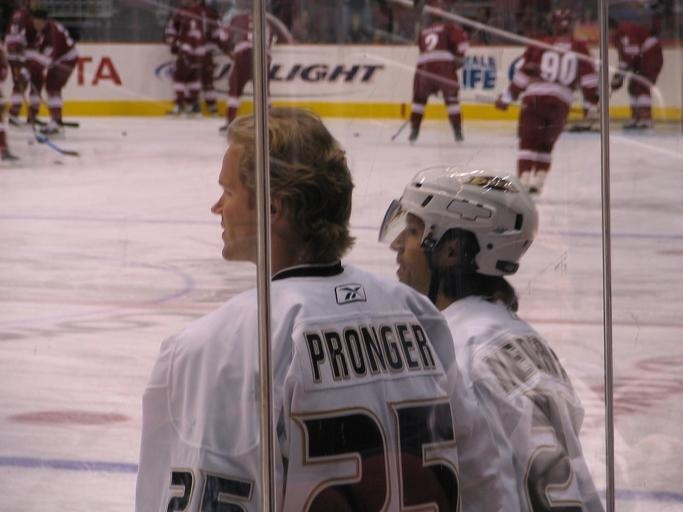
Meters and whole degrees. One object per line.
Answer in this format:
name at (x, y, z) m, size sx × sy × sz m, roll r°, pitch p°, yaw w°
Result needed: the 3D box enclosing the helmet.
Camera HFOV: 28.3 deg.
helmet at (0.337, -0.112, 3.941) m, size 0.473 × 0.311 × 0.337 m, roll 8°, pitch 6°, yaw 10°
